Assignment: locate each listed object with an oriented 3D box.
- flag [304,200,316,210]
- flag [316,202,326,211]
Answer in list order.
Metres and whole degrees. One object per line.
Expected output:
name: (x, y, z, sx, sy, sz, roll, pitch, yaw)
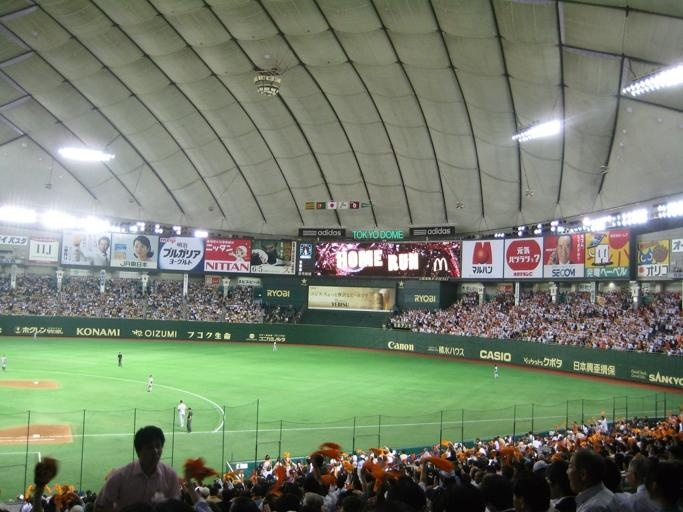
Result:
flag: (-3.614, -6.003, 74.137, 1.506, 1.032, 0.847, 0, -10, 3)
flag: (-2.412, -5.852, 74.042, 1.375, 0.935, 0.727, 1, 7, 3)
